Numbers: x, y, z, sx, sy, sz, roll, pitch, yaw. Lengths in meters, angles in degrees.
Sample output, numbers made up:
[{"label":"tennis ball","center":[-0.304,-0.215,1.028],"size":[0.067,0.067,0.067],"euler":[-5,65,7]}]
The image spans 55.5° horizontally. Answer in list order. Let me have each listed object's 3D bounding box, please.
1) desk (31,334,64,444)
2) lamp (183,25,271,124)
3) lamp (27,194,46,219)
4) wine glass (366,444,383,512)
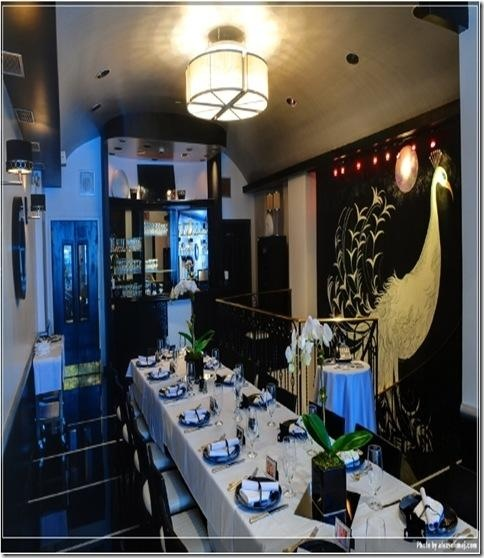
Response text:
[{"label":"desk","center":[-2.218,1.275,5.317],"size":[0.338,0.893,1.519],"euler":[-5,9,-23]},{"label":"lamp","center":[-0.152,-1.919,4.309],"size":[0.779,0.651,0.786],"euler":[3,12,37]},{"label":"lamp","center":[-2.858,-0.998,6.424],"size":[0.195,0.357,2.139],"euler":[-6,10,-22]},{"label":"wine glass","center":[0.688,0.989,2.387],"size":[0.065,0.321,0.195],"euler":[0,8,17]}]
